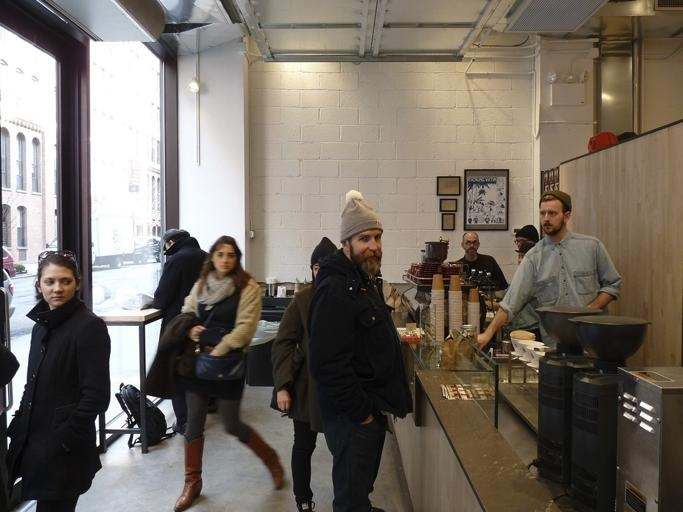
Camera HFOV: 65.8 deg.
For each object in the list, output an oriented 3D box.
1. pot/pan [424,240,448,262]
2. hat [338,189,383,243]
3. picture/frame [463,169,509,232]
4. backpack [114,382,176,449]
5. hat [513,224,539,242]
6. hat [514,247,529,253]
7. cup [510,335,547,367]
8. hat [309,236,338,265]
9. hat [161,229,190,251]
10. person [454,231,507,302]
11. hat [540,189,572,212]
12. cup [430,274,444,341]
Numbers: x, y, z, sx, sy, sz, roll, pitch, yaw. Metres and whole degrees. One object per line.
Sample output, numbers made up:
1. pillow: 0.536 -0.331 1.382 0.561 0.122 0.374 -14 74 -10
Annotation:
1. pot/pan: 0.762 -0.033 4.159 0.164 0.138 0.150 1 -4 -5
2. hat: 0.122 -0.199 2.776 0.237 0.308 0.311 -13 9 -10
3. picture/frame: 1.781 -0.691 6.375 0.743 1.037 0.042 0 0 -2
4. backpack: -1.652 1.308 4.592 0.470 0.578 0.433 -14 6 -24
5. hat: 1.909 -0.224 5.332 0.230 0.158 0.164 19 -5 -14
6. hat: 1.874 -0.061 5.451 0.110 0.048 0.083 3 0 14
7. cup: 0.905 0.454 2.531 0.104 0.056 0.207 1 0 7
8. hat: -0.092 -0.034 3.368 0.131 0.125 0.196 -2 1 -26
9. hat: -1.458 -0.137 4.744 0.209 0.209 0.171 4 3 11
10. person: 1.481 0.147 5.740 0.540 0.851 0.605 2 -8 -22
11. hat: 1.454 -0.376 3.532 0.185 0.105 0.163 8 -2 9
12. cup: 0.643 0.339 3.494 0.086 0.414 0.155 1 6 9
